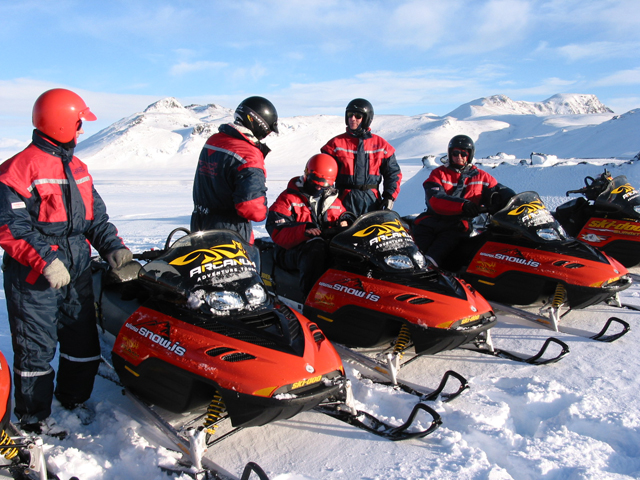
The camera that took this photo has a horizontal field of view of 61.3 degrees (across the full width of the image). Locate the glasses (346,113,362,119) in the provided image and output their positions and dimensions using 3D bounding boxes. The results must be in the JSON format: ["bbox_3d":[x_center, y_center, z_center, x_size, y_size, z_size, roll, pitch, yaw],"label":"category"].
[{"bbox_3d":[0.457,-1.692,7.307,0.106,0.088,0.113,6,15,14],"label":"glasses"}]

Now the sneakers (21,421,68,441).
[{"bbox_3d":[-2.079,1.434,4.069,0.476,0.111,0.178,11,-29,-31],"label":"sneakers"}]

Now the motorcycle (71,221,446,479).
[{"bbox_3d":[-0.707,0.772,4.202,2.545,1.554,1.529,13,23,36],"label":"motorcycle"}]

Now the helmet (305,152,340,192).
[{"bbox_3d":[0.070,-0.766,6.142,0.495,0.392,0.430,4,35,-10],"label":"helmet"}]

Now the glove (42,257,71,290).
[{"bbox_3d":[-1.883,0.236,3.866,0.086,0.214,0.151,18,26,36],"label":"glove"}]

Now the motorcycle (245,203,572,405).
[{"bbox_3d":[0.545,0.533,5.588,1.503,0.912,3.372,-5,11,-44],"label":"motorcycle"}]
